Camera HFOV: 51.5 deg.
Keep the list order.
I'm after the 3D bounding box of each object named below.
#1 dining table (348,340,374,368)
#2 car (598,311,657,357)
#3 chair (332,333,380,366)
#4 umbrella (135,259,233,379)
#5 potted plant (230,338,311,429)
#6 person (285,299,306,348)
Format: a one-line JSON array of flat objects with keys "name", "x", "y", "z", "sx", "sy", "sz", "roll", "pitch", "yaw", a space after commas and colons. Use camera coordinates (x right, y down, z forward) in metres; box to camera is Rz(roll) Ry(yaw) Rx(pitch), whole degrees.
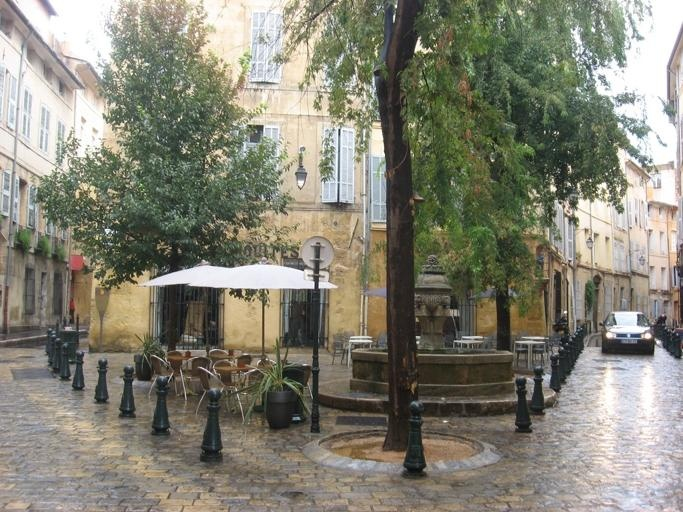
[{"name": "dining table", "x": 0.474, "y": 2.697, "z": 20.666, "sx": 0.855, "sy": 1.142, "sz": 0.949, "roll": 0, "pitch": -10, "yaw": 0}, {"name": "car", "x": 10.997, "y": 2.918, "z": 27.226, "sx": 1.825, "sy": 1.675, "sz": 1.950, "roll": -3, "pitch": -8, "yaw": 24}, {"name": "chair", "x": 0.225, "y": 2.729, "z": 21.398, "sx": 1.064, "sy": 0.939, "sz": 1.119, "roll": 2, "pitch": -10, "yaw": -13}, {"name": "umbrella", "x": -4.447, "y": 1.709, "z": 19.502, "sx": 2.443, "sy": 1.929, "sz": 2.443, "roll": -5, "pitch": -7, "yaw": 41}, {"name": "potted plant", "x": -1.229, "y": 2.242, "z": 12.458, "sx": 1.177, "sy": 1.415, "sz": 1.480, "roll": 1, "pitch": -9, "yaw": -9}, {"name": "person", "x": -1.592, "y": 2.304, "z": 24.952, "sx": 0.740, "sy": 1.956, "sz": 0.210, "roll": 6, "pitch": -36, "yaw": -13}]
